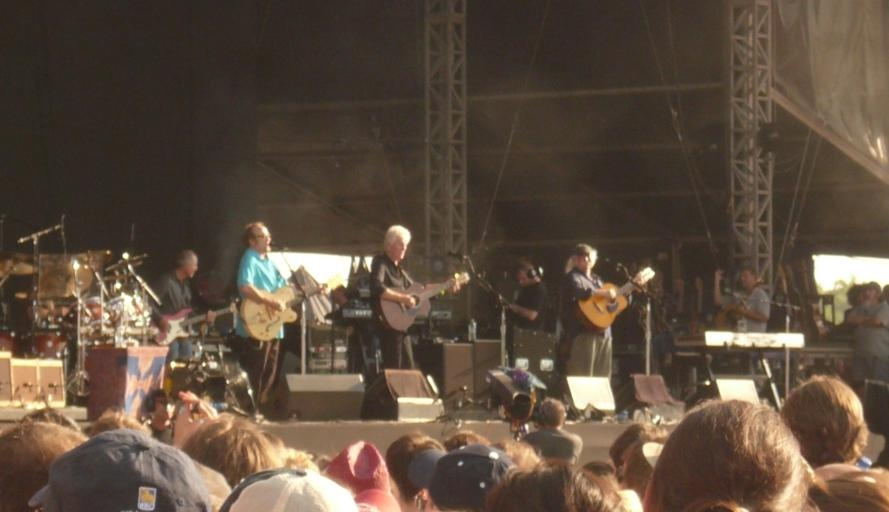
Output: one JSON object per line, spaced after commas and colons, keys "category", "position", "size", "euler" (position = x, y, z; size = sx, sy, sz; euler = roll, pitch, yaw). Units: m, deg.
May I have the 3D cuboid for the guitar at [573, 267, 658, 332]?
{"category": "guitar", "position": [2.530, 0.835, 21.918], "size": [0.359, 0.876, 0.858], "euler": [-20, 12, 26]}

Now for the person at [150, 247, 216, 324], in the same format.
{"category": "person", "position": [-4.779, 0.565, 22.407], "size": [0.759, 1.583, 0.741], "euler": [4, 0, -3]}

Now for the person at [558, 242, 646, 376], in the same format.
{"category": "person", "position": [2.706, 1.088, 22.494], "size": [1.196, 2.656, 1.163], "euler": [2, -1, 10]}

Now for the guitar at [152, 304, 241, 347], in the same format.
{"category": "guitar", "position": [-4.464, 1.253, 22.211], "size": [1.218, 0.692, 0.720], "euler": [1, -13, -10]}

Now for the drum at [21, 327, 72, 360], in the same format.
{"category": "drum", "position": [-7.199, 1.635, 22.473], "size": [0.573, 0.574, 1.534], "euler": [7, -16, -32]}

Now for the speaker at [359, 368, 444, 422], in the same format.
{"category": "speaker", "position": [-0.697, 2.275, 20.705], "size": [0.708, 0.800, 1.391], "euler": [1, -2, -19]}

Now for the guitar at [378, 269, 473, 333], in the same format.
{"category": "guitar", "position": [-0.375, 0.732, 21.595], "size": [1.758, 0.749, 0.273], "euler": [-23, 2, -44]}

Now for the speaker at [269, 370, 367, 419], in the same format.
{"category": "speaker", "position": [-2.110, 2.302, 20.636], "size": [1.583, 0.804, 0.419], "euler": [1, 0, -4]}

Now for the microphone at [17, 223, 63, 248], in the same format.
{"category": "microphone", "position": [-7.964, -0.392, 24.578], "size": [1.384, 0.226, 0.292], "euler": [-19, -24, 34]}

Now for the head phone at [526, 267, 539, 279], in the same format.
{"category": "head phone", "position": [1.593, 0.323, 22.604], "size": [0.213, 0.170, 0.218], "euler": [-4, 7, -25]}

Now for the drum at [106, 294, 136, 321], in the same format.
{"category": "drum", "position": [-5.357, 0.827, 20.746], "size": [0.428, 0.444, 0.176], "euler": [-6, -22, 29]}

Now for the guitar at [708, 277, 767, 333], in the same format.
{"category": "guitar", "position": [5.643, 0.865, 23.542], "size": [0.990, 1.367, 1.064], "euler": [8, -15, -35]}
